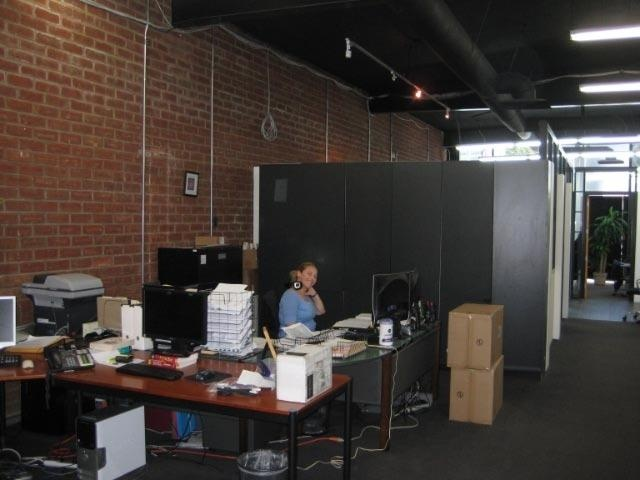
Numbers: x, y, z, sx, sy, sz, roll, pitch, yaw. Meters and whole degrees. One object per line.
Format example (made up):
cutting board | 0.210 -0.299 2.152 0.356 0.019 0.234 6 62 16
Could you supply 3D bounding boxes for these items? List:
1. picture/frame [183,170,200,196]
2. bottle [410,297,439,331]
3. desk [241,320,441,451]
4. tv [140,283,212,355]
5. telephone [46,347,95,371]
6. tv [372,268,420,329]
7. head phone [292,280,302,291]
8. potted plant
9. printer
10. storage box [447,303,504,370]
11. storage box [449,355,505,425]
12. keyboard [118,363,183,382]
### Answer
picture/frame | -1.659 -0.724 6.706 0.027 0.372 0.337 1 2 25
bottle | 1.114 0.797 5.501 0.248 0.355 0.360 0 -8 13
desk | 0.672 1.198 4.810 0.865 0.650 1.323 0 3 25
tv | -1.266 0.699 4.357 0.191 0.572 0.578 -28 -29 36
telephone | -1.974 0.943 4.137 0.246 0.081 0.167 8 39 -36
tv | 0.740 0.606 5.104 0.130 0.386 0.601 3 1 32
head phone | -0.238 0.482 5.435 0.099 0.093 0.207 0 5 -4
potted plant | 7.875 0.083 14.375 0.942 1.930 2.754 3 5 29
printer | -2.487 0.562 5.135 0.597 0.582 0.566 4 2 20
storage box | 1.672 1.006 5.619 0.447 0.536 0.840 1 3 26
storage box | 1.620 1.500 5.469 0.465 0.581 0.884 -1 0 29
keyboard | -1.294 1.012 4.012 0.320 0.047 0.188 2 3 19
